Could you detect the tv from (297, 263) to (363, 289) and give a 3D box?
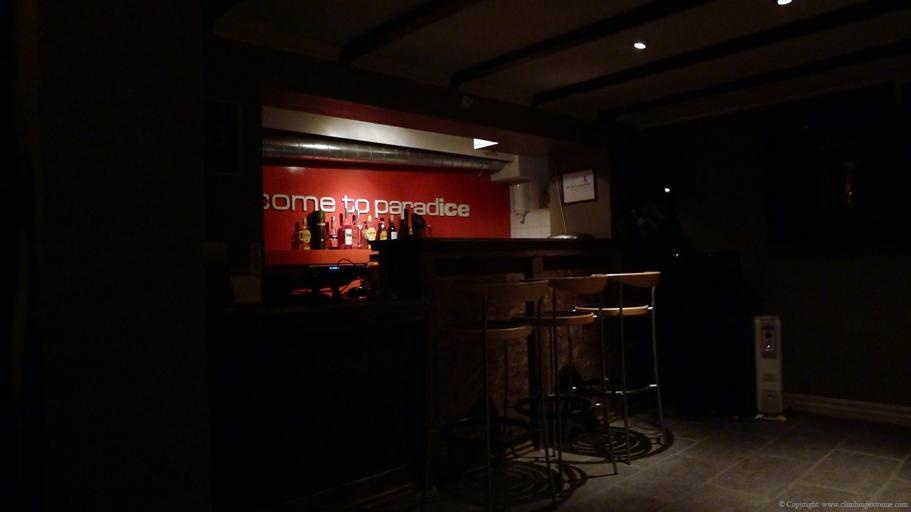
[{"bbox_3d":[-0.938,0.150,4.743,0.362,0.114,0.183,-2,4,-21],"label":"tv"}]

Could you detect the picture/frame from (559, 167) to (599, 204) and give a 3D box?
[{"bbox_3d":[1.260,-0.706,6.276,0.045,0.343,0.425,3,-2,-43],"label":"picture/frame"}]

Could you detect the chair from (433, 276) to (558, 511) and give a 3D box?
[{"bbox_3d":[0.256,0.931,4.718,1.027,1.609,1.165,-5,10,-8],"label":"chair"}]

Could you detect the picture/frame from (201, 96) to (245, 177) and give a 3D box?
[{"bbox_3d":[-1.647,-0.839,4.459,0.299,0.510,0.053,6,11,12],"label":"picture/frame"}]
